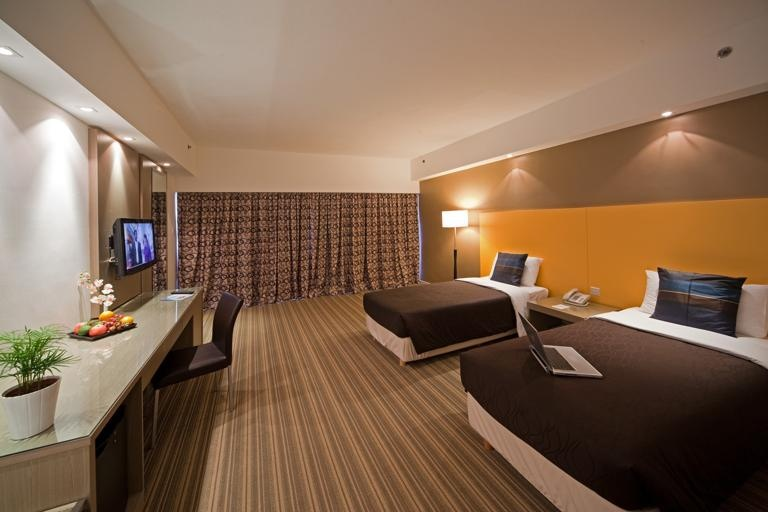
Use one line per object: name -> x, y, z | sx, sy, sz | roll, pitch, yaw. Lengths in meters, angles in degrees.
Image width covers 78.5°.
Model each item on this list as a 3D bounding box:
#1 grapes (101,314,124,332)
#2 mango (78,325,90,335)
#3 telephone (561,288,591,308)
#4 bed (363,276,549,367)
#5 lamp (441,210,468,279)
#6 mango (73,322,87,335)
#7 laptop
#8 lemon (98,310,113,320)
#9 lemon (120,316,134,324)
grapes -> -2.299, 0.568, 4.027 | 0.157, 0.050, 0.139 | 8, 6, 44
mango -> -2.468, 0.613, 3.881 | 0.064, 0.069, 0.085 | 11, -3, -33
telephone -> 2.196, 0.472, 5.407 | 0.175, 0.078, 0.235 | -25, 11, -9
bed -> 0.792, 0.683, 5.425 | 1.442, 0.450, 1.090 | -5, 6, -23
lamp -> 1.157, -0.180, 7.467 | 0.391, 1.096, 0.621 | 0, 3, 11
mango -> -2.513, 0.599, 3.944 | 0.100, 0.077, 0.137 | 5, 3, -6
laptop -> 1.456, 0.769, 3.864 | 0.479, 0.350, 0.547 | 0, 8, -4
lemon -> -2.392, 0.503, 4.061 | 0.076, 0.076, 0.078 | 5, 10, 5
lemon -> -2.233, 0.556, 4.096 | 0.064, 0.064, 0.065 | -5, 0, -11
